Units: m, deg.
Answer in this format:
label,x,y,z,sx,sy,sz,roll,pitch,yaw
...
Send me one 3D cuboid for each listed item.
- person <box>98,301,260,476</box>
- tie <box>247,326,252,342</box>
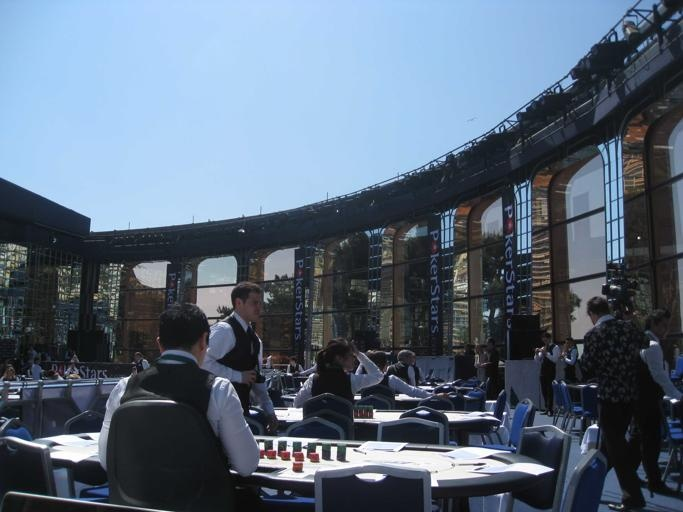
label,x,y,z,sx,sy,sz,roll,pitch,yaw
person,-0.953,0.830,4.030,0.829,1.084,0.257,-1,-11,0
tie,-0.841,0.695,5.837,0.061,0.087,0.019,-3,3,-43
